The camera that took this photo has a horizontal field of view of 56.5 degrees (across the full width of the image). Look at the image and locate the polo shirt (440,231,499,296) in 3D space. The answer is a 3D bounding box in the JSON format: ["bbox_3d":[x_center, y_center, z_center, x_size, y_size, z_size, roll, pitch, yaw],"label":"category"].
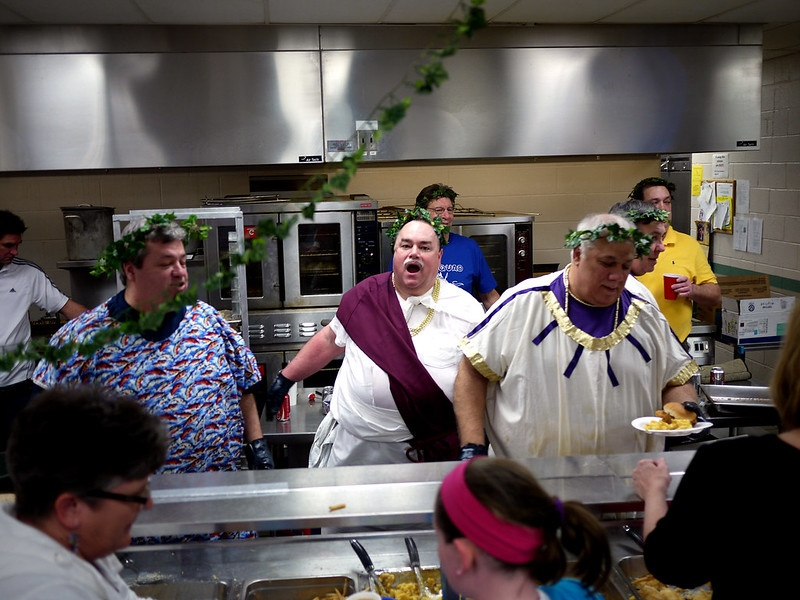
[{"bbox_3d":[0.412,-0.226,4.548,0.452,0.360,0.146,-2,-1,-10],"label":"polo shirt"}]

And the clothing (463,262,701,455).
[{"bbox_3d":[0.704,0.251,2.870,0.921,0.695,0.383,1,6,-2],"label":"clothing"}]

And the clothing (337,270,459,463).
[{"bbox_3d":[-0.069,0.315,3.284,0.576,0.704,0.216,6,-22,-38],"label":"clothing"}]

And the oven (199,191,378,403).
[{"bbox_3d":[-0.699,-0.081,5.196,1.123,1.374,0.784,-4,23,-6],"label":"oven"}]

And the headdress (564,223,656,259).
[{"bbox_3d":[0.787,-0.219,2.782,0.236,0.066,0.240,2,0,36],"label":"headdress"}]

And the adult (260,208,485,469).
[{"bbox_3d":[-0.007,0.479,3.368,0.993,1.612,0.641,6,22,16],"label":"adult"}]

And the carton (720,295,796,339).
[{"bbox_3d":[2.000,0.101,4.198,0.275,0.157,0.146,-1,6,-5],"label":"carton"}]
